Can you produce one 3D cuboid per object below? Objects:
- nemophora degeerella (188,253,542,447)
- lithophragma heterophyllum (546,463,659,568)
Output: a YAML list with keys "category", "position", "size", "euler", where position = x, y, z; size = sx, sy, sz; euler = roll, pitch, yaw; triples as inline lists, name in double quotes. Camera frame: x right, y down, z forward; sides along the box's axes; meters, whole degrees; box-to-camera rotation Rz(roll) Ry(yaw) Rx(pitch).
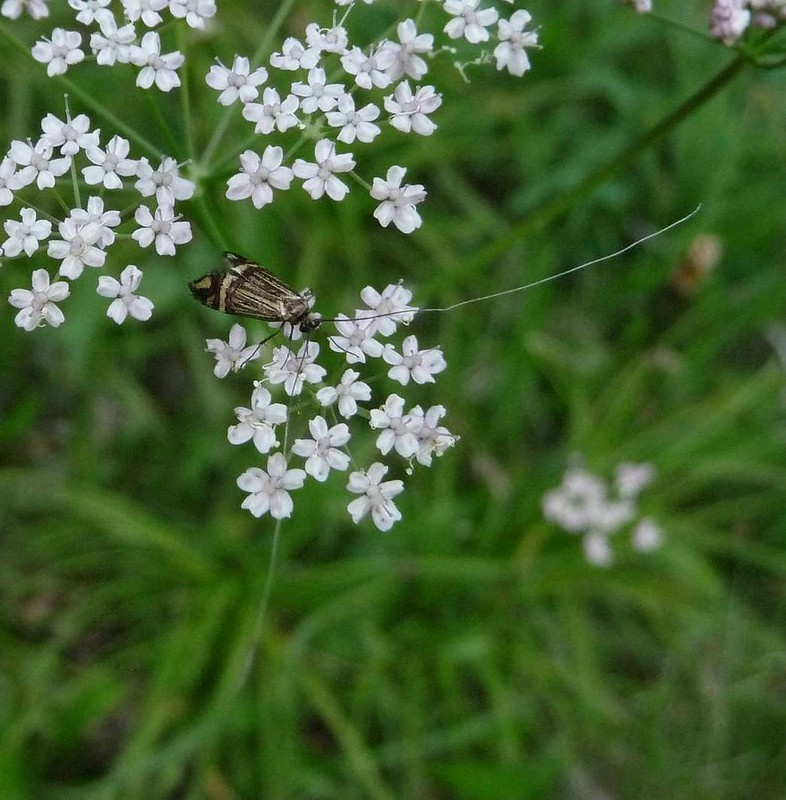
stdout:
- category: "nemophora degeerella"
  position: [-0.349, -0.259, 3.097]
  size: [0.678, 0.559, 0.394]
  euler: [-10, 24, -25]
- category: "lithophragma heterophyllum"
  position: [0.795, 0.431, 3.590]
  size: [0.426, 0.278, 0.305]
  euler: [-6, 40, 10]
